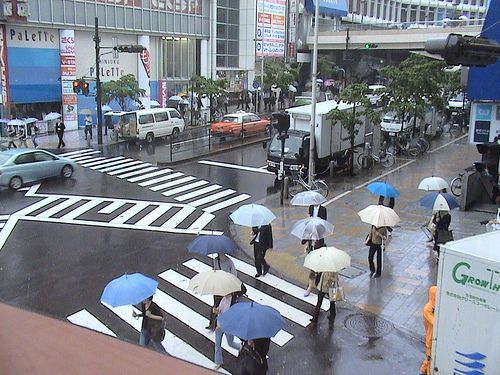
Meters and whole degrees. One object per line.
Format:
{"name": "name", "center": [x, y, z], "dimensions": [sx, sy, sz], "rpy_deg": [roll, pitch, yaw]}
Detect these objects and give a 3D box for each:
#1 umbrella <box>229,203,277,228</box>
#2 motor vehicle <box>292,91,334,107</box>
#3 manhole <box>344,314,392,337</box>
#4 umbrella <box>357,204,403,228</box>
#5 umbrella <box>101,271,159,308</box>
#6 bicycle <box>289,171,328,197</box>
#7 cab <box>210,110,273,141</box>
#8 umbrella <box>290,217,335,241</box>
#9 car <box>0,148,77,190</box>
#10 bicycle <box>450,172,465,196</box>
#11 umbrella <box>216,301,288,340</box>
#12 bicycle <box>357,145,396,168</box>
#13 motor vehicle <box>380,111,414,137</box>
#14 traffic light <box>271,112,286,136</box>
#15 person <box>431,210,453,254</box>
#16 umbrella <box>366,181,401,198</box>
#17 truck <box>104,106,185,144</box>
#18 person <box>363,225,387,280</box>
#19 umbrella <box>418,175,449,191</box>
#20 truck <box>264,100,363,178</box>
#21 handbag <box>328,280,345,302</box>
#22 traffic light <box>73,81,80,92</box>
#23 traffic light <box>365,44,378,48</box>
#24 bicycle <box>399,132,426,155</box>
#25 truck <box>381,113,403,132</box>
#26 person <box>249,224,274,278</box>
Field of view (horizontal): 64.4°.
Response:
{"name": "umbrella", "center": [0.005, 0.744, 10.880], "dimensions": [0.790, 0.386, 0.809], "rpy_deg": [-16, 33, -28]}
{"name": "motor vehicle", "center": [6.661, -9.662, 42.905], "dimensions": [2.925, 2.732, 4.844], "rpy_deg": [6, 14, 32]}
{"name": "manhole", "center": [2.659, 3.097, 9.001], "dimensions": [0.891, 0.195, 0.757], "rpy_deg": [12, 21, 35]}
{"name": "umbrella", "center": [3.441, 0.751, 10.620], "dimensions": [0.982, 0.568, 0.626], "rpy_deg": [-8, -8, 17]}
{"name": "umbrella", "center": [-2.159, 1.805, 7.065], "dimensions": [0.642, 0.644, 0.700], "rpy_deg": [-1, 38, 2]}
{"name": "bicycle", "center": [2.750, -0.069, 18.889], "dimensions": [1.788, 1.266, 0.980], "rpy_deg": [5, 33, 10]}
{"name": "cab", "center": [-0.490, -5.129, 31.817], "dimensions": [2.450, 2.192, 5.883], "rpy_deg": [9, 18, 37]}
{"name": "umbrella", "center": [1.604, 1.090, 10.533], "dimensions": [0.709, 0.289, 0.743], "rpy_deg": [-23, 27, -11]}
{"name": "car", "center": [-10.432, -1.074, 19.381], "dimensions": [1.258, 1.124, 2.957], "rpy_deg": [15, 22, 33]}
{"name": "bicycle", "center": [9.243, -0.157, 17.630], "dimensions": [0.583, 1.151, 3.242], "rpy_deg": [-8, -8, 27]}
{"name": "umbrella", "center": [0.006, 2.033, 6.126], "dimensions": [0.663, 0.366, 0.697], "rpy_deg": [20, 34, 31]}
{"name": "bicycle", "center": [7.417, -1.658, 22.960], "dimensions": [2.086, 1.498, 1.226], "rpy_deg": [3, 30, 5]}
{"name": "motor vehicle", "center": [11.452, -5.069, 30.440], "dimensions": [2.138, 2.264, 3.911], "rpy_deg": [12, 21, 36]}
{"name": "traffic light", "center": [1.307, -2.900, 17.545], "dimensions": [0.489, 1.188, 1.254], "rpy_deg": [-5, -7, 2]}
{"name": "person", "center": [5.896, 1.339, 12.157], "dimensions": [0.559, 1.294, 0.934], "rpy_deg": [-7, -7, 23]}
{"name": "umbrella", "center": [4.505, 0.056, 13.441], "dimensions": [0.917, 0.582, 0.771], "rpy_deg": [-8, -8, 18]}
{"name": "truck", "center": [-7.406, -4.918, 29.710], "dimensions": [2.621, 2.131, 4.571], "rpy_deg": [18, 31, 38]}
{"name": "person", "center": [3.527, 1.804, 11.091], "dimensions": [0.526, 1.466, 0.769], "rpy_deg": [-4, -7, -1]}
{"name": "umbrella", "center": [6.490, -0.141, 14.094], "dimensions": [0.617, 0.298, 0.665], "rpy_deg": [9, 25, 25]}
{"name": "truck", "center": [3.508, -2.622, 20.819], "dimensions": [6.915, 3.952, 2.674], "rpy_deg": [-23, 27, -39]}
{"name": "handbag", "center": [1.912, 2.288, 8.811], "dimensions": [0.339, 0.439, 0.179], "rpy_deg": [-6, -7, 11]}
{"name": "traffic light", "center": [-12.294, -7.124, 27.974], "dimensions": [0.429, 0.702, 0.257], "rpy_deg": [1, 24, -8]}
{"name": "traffic light", "center": [8.320, -10.035, 27.543], "dimensions": [0.621, 0.171, 0.667], "rpy_deg": [-2, 6, -13]}
{"name": "bicycle", "center": [10.828, -2.871, 26.345], "dimensions": [1.677, 0.882, 1.237], "rpy_deg": [3, 23, 11]}
{"name": "truck", "center": [10.536, -4.748, 29.465], "dimensions": [1.347, 1.720, 0.906], "rpy_deg": [-12, -10, 44]}
{"name": "person", "center": [0.350, 1.780, 11.264], "dimensions": [0.644, 1.433, 0.875], "rpy_deg": [-5, -7, -1]}
